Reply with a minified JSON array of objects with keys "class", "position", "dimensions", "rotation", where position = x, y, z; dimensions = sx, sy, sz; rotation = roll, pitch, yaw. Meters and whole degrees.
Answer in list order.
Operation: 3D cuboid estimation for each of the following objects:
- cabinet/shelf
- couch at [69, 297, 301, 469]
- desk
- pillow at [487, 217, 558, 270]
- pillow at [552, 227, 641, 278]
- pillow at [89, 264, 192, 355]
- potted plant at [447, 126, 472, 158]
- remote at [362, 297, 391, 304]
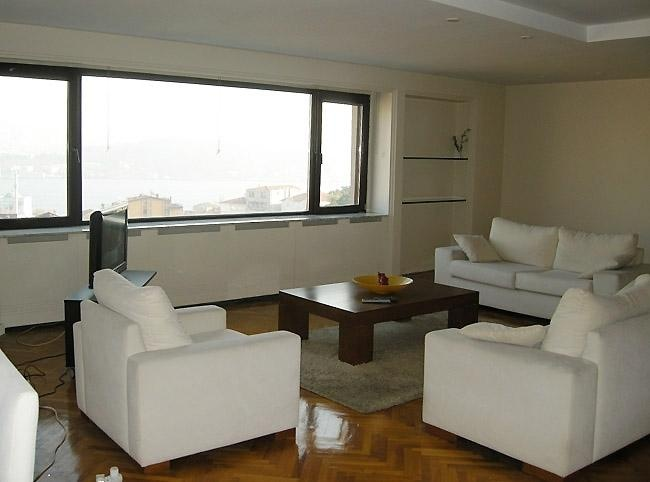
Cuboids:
[{"class":"cabinet/shelf","position":[1.835,-0.991,8.621],"dimensions":[1.258,0.695,0.337],"rotation":[-5,11,-34]},{"class":"couch","position":[-0.867,0.626,3.304],"dimensions":[1.016,0.853,1.079],"rotation":[-4,8,-37]},{"class":"desk","position":[-1.408,0.533,3.406],"dimensions":[0.246,0.390,0.802],"rotation":[3,8,10]},{"class":"pillow","position":[2.507,0.067,6.613],"dimensions":[0.634,0.406,0.225],"rotation":[17,-9,43]},{"class":"pillow","position":[3.031,0.157,5.916],"dimensions":[0.836,0.489,0.709],"rotation":[7,11,33]},{"class":"pillow","position":[-1.105,0.421,3.140],"dimensions":[0.404,0.222,0.639],"rotation":[-2,32,-43]},{"class":"potted plant","position":[2.373,-1.661,8.900],"dimensions":[0.396,0.500,0.400],"rotation":[4,20,27]},{"class":"remote","position":[0.481,0.558,4.890],"dimensions":[0.283,0.030,0.198],"rotation":[1,9,-2]}]
